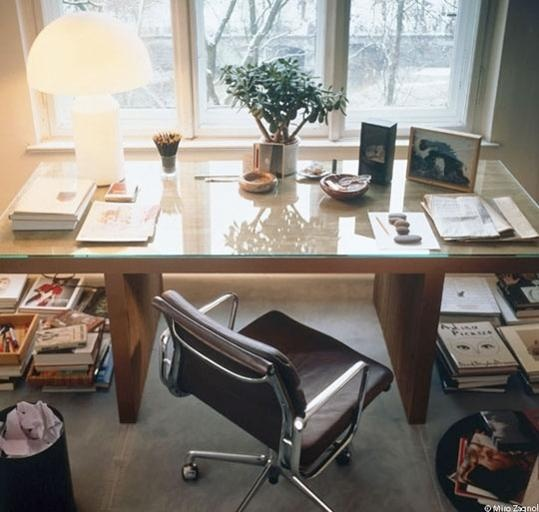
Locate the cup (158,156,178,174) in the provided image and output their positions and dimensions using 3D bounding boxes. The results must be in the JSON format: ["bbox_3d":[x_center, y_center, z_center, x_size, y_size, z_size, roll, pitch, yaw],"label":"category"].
[{"bbox_3d":[-0.448,-0.421,2.181,0.078,0.087,0.081,2,35,-2],"label":"cup"}]

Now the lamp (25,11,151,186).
[{"bbox_3d":[-0.787,-0.653,2.079,0.476,0.663,0.470,-13,16,-38],"label":"lamp"}]

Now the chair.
[{"bbox_3d":[0.014,0.522,1.579,0.408,0.518,0.403,31,50,27],"label":"chair"}]

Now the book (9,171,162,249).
[{"bbox_3d":[-0.674,-0.189,1.788,0.522,0.095,0.530,-3,30,-5],"label":"book"}]

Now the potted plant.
[{"bbox_3d":[0.094,-0.671,2.253,0.534,0.500,0.607,10,31,18],"label":"potted plant"}]
